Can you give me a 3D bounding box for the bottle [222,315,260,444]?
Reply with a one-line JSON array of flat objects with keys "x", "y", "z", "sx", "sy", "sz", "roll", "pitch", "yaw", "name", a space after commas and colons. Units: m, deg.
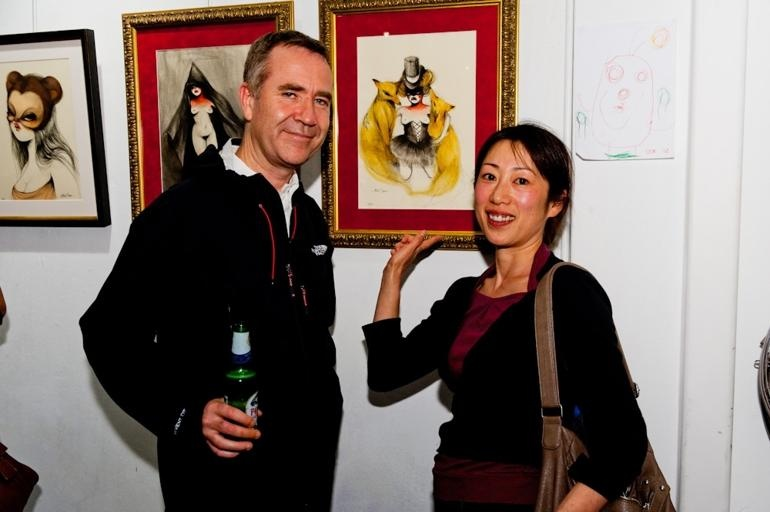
[{"x": -0.479, "y": 0.374, "z": 2.161, "sx": 0.114, "sy": 0.298, "sz": 0.155, "roll": 1, "pitch": 7, "yaw": -3, "name": "bottle"}]
